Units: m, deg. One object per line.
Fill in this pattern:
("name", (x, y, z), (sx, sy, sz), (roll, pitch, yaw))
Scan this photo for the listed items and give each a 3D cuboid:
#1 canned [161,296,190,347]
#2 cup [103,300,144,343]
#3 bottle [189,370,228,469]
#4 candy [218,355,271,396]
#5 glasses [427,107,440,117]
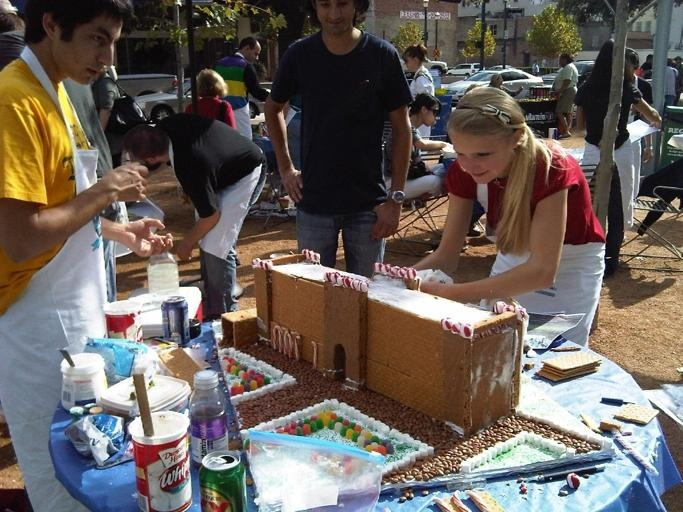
("canned", (-0.808, 0.312, 2.970), (0.132, 0.230, 0.132), (5, 18, 16))
("cup", (-0.996, 0.309, 2.794), (0.174, 0.191, 0.175), (0, 14, 0))
("bottle", (-0.473, 0.561, 2.167), (0.177, 0.303, 0.172), (0, 12, 0))
("candy", (-0.412, 0.499, 2.631), (0.182, 0.120, 0.209), (-9, 9, -31))
("glasses", (1.174, -1.859, 7.759), (0.113, 0.117, 0.039), (1, -20, 6))
